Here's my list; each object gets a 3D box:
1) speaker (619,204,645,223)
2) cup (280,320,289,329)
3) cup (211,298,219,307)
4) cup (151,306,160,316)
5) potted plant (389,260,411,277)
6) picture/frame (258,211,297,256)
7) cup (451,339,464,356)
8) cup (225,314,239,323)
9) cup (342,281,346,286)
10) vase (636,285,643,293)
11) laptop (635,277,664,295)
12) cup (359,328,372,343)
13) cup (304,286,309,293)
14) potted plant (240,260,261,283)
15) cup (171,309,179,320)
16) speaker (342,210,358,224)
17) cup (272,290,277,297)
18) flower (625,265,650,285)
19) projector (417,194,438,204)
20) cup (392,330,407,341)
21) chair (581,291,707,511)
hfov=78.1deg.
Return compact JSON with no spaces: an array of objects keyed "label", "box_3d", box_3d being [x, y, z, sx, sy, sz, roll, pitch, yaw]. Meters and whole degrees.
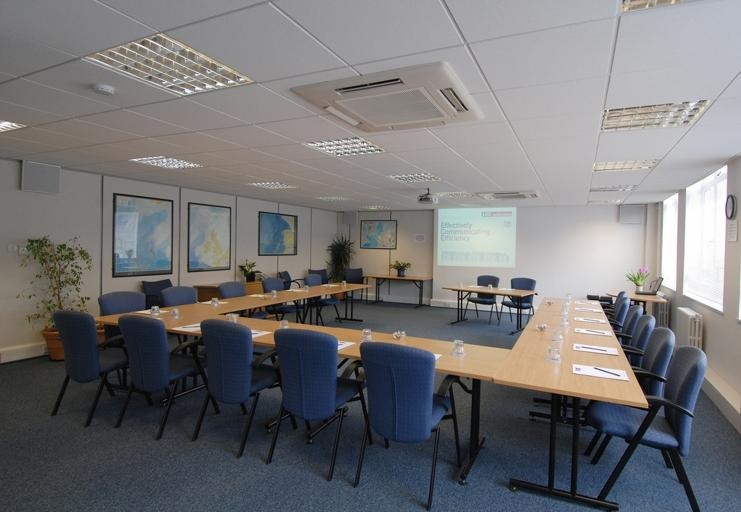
[{"label":"speaker","box_3d":[5.827,-0.914,10.129,0.410,0.379,0.192,0,-2,23]},{"label":"cup","box_3d":[-0.988,0.775,5.213,0.119,0.088,0.119,0,-4,0]},{"label":"cup","box_3d":[-2.269,0.682,6.676,0.121,0.114,0.120,-1,2,0]},{"label":"cup","box_3d":[-2.799,0.719,5.998,0.113,0.108,0.114,2,-4,0]},{"label":"potted plant","box_3d":[0.803,0.351,12.582,0.463,0.321,0.461,1,-5,10]},{"label":"picture/frame","box_3d":[-2.336,-0.539,11.240,0.049,0.861,1.171,-2,-3,29]},{"label":"cup","box_3d":[0.900,0.927,4.621,0.131,0.128,0.130,0,-5,0]},{"label":"cup","box_3d":[-1.655,0.748,5.452,0.156,0.113,0.091,-1,-4,9]},{"label":"cup","box_3d":[-0.566,0.597,9.824,0.065,0.088,0.091,-1,-1,21]},{"label":"vase","box_3d":[5.617,0.694,9.533,0.164,0.162,0.162,0,-3,-2]},{"label":"laptop","box_3d":[5.720,0.662,9.321,0.432,0.313,0.520,-1,-3,9]},{"label":"cup","box_3d":[-0.049,0.858,4.915,0.138,0.132,0.117,0,-6,0]},{"label":"cup","box_3d":[-1.234,0.634,8.738,0.088,0.097,0.088,0,-6,0]},{"label":"potted plant","box_3d":[-2.708,0.348,10.263,0.451,0.428,0.401,-1,1,-18]},{"label":"cup","box_3d":[-2.497,0.747,5.804,0.114,0.121,0.113,0,-5,0]},{"label":"speaker","box_3d":[-0.582,-1.046,13.537,0.483,0.465,0.331,-1,-4,24]},{"label":"cup","box_3d":[-1.605,0.644,7.643,0.081,0.147,0.080,0,6,0]},{"label":"flower","box_3d":[5.747,0.438,9.705,0.469,0.375,0.448,-3,1,-10]},{"label":"projector","box_3d":[1.054,-1.049,8.510,0.363,0.242,0.359,1,3,10]},{"label":"cup","box_3d":[0.323,0.871,5.018,0.136,0.076,0.146,0,-5,0]},{"label":"chair","box_3d":[2.587,1.445,4.233,0.969,1.342,1.410,10,16,33]}]
